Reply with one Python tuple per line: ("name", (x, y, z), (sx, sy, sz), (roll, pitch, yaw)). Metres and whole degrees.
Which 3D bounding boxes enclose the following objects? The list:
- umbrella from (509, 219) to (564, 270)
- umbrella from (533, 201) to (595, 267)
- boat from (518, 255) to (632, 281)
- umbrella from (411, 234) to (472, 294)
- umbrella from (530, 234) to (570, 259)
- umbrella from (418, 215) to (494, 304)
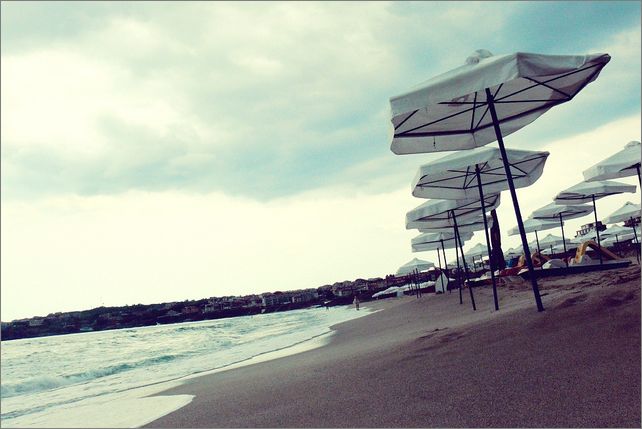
("umbrella", (9.702, 1.300, 22.127), (2.975, 2.017, 2.759), (-2, -9, 6))
("umbrella", (10.696, 0.905, 22.110), (2.940, 2.475, 2.596), (-4, -12, -3))
("boat", (7.633, 1.619, 14.999), (2.636, 0.596, 1.276), (-2, -8, 8))
("umbrella", (5.634, 1.692, 24.095), (2.807, 2.086, 2.682), (0, 3, 14))
("umbrella", (13.400, 1.889, 29.043), (2.367, 1.099, 2.236), (-3, -9, 4))
("umbrella", (4.614, 1.543, 16.096), (1.753, 2.791, 1.707), (-8, -7, 1))
